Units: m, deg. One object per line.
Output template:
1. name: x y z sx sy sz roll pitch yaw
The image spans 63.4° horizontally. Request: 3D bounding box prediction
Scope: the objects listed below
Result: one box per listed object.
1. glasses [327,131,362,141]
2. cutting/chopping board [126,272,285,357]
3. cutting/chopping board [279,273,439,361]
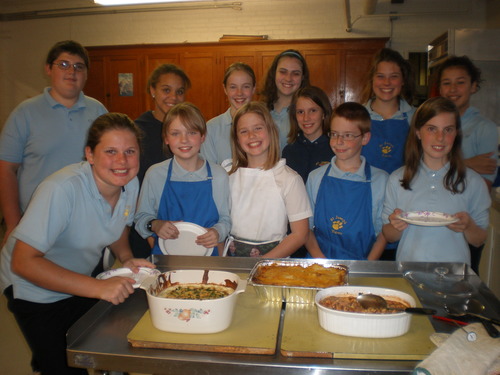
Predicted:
1. glasses: 0.679 -0.368 2.861 0.213 0.059 0.086 0 16 16
2. cutting/chopping board: -0.168 0.570 1.793 0.612 0.078 0.434 -3 14 6
3. cutting/chopping board: 0.448 0.590 1.686 0.633 0.074 0.310 -3 14 4
